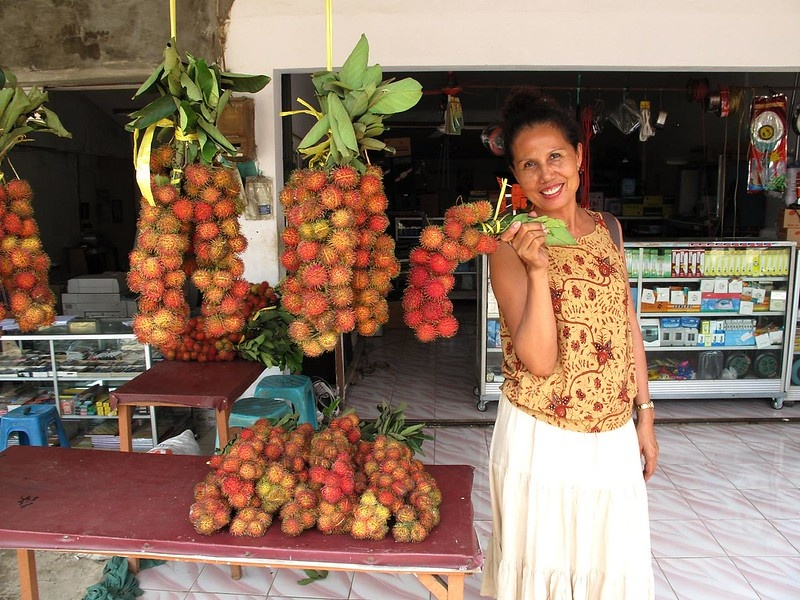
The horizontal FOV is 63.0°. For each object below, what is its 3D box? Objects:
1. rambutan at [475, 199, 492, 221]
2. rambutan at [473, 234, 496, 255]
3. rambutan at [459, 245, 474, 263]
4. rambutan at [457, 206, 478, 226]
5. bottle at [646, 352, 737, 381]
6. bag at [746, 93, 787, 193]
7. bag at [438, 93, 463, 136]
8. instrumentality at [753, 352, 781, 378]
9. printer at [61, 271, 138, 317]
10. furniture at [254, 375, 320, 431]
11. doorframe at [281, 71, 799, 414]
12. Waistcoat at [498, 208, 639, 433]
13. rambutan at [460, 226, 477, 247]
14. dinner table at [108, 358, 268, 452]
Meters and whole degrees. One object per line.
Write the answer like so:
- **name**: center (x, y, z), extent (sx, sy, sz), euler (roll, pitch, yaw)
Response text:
- **rambutan**: center (0.274, -0.291, 2.139), extent (0.061, 0.070, 0.090), euler (-1, 4, 7)
- **rambutan**: center (0.270, -0.184, 2.105), extent (0.063, 0.061, 0.064), euler (1, 2, -4)
- **rambutan**: center (0.221, -0.149, 2.125), extent (0.049, 0.049, 0.052), euler (4, 12, -9)
- **rambutan**: center (0.210, -0.272, 2.103), extent (0.064, 0.056, 0.054), euler (-10, 5, -2)
- **bottle**: center (2.483, 0.579, 5.590), extent (0.502, 0.152, 0.340), euler (-1, 2, 7)
- **bag**: center (3.154, -1.317, 5.575), extent (0.098, 0.849, 0.344), euler (-17, 18, -24)
- **bag**: center (0.440, -1.628, 5.745), extent (0.140, 0.290, 0.323), euler (-3, 14, 2)
- **instrumentality**: center (3.102, 0.543, 5.510), extent (0.191, 0.176, 0.107), euler (14, 7, 7)
- **printer**: center (-2.469, -0.050, 5.222), extent (0.479, 0.289, 0.424), euler (-2, 18, -37)
- **furniture**: center (-0.735, 0.651, 4.342), extent (0.399, 0.268, 0.395), euler (-5, 8, -23)
- **doorframe**: center (1.167, -0.416, 4.526), extent (4.282, 2.500, 0.652), euler (0, 15, 1)
- **Waistcoat**: center (0.609, 0.072, 2.315), extent (0.498, 0.762, 0.233), euler (-1, 4, 2)
- **rambutan**: center (0.225, -0.200, 2.087), extent (0.052, 0.056, 0.053), euler (13, -31, -35)
- **dinner table**: center (-1.080, 0.565, 3.433), extent (0.559, 0.368, 0.772), euler (0, 9, 0)
